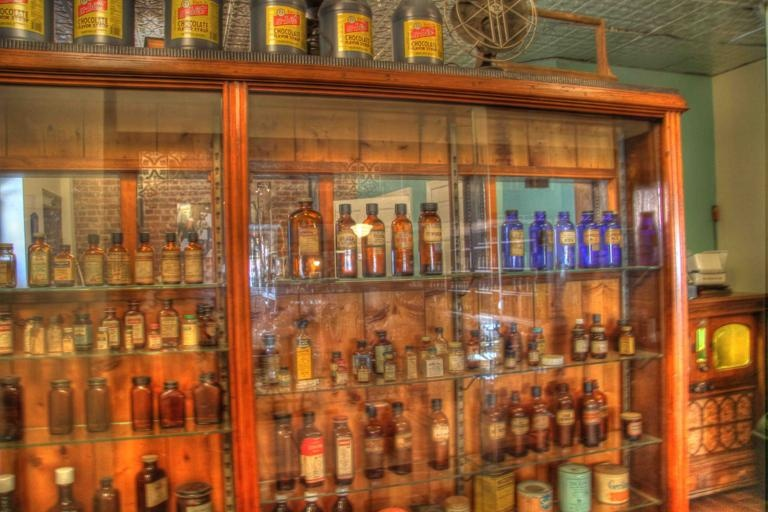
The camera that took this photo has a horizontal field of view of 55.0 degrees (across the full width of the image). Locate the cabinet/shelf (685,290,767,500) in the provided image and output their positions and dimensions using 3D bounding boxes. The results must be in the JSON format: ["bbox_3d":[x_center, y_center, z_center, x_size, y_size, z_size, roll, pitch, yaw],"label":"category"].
[{"bbox_3d":[2.267,0.921,4.885,0.689,1.410,0.157,-5,-1,-14],"label":"cabinet/shelf"}]

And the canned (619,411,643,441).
[{"bbox_3d":[1.306,0.923,4.027,0.158,0.134,0.138,-1,0,-7],"label":"canned"}]

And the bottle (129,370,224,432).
[{"bbox_3d":[-0.990,0.704,3.528,0.385,0.182,0.090,-1,0,-7],"label":"bottle"}]
